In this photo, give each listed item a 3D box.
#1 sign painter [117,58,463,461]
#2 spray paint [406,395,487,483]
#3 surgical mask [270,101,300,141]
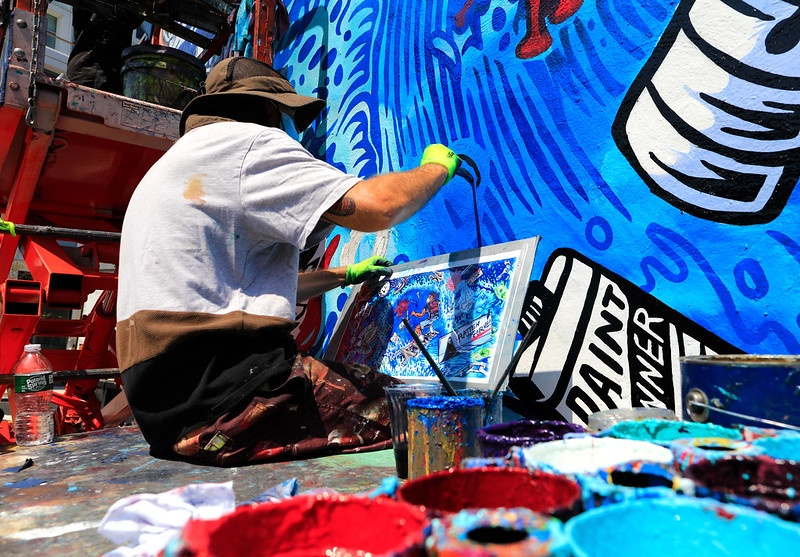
[{"bbox_3d":[-0.380,-0.061,3.159,1.349,1.594,1.832,3,-4,-35],"label":"sign painter"},{"bbox_3d":[0.137,0.514,2.079,0.241,0.243,0.228,1,-2,16],"label":"spray paint"},{"bbox_3d":[-0.531,-0.733,3.067,0.147,0.107,0.126,25,-41,-20],"label":"surgical mask"}]
